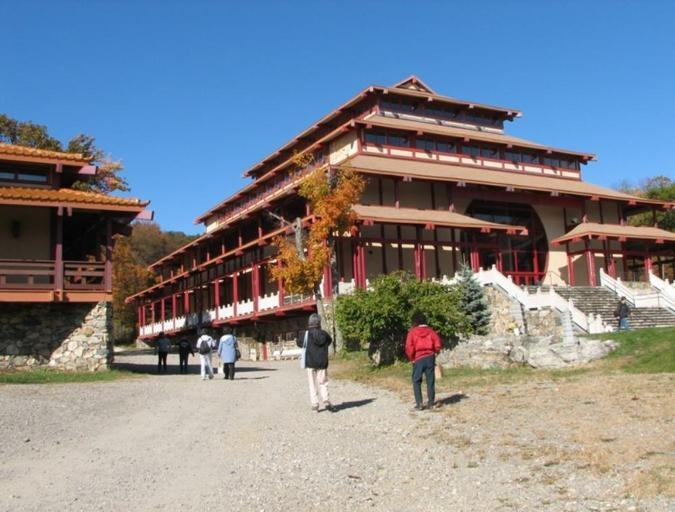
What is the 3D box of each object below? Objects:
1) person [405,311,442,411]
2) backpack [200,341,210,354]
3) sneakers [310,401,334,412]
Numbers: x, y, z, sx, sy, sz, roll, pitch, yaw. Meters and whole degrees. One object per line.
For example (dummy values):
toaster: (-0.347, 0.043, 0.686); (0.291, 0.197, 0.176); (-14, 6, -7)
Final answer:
person: (1.950, 2.327, 13.442); (0.738, 2.163, 0.988); (-4, -10, 8)
backpack: (-4.380, 3.034, 19.883); (0.299, 0.455, 0.194); (-2, -10, -8)
sneakers: (-0.370, 3.410, 13.606); (0.580, 0.265, 0.214); (-19, -23, 41)
